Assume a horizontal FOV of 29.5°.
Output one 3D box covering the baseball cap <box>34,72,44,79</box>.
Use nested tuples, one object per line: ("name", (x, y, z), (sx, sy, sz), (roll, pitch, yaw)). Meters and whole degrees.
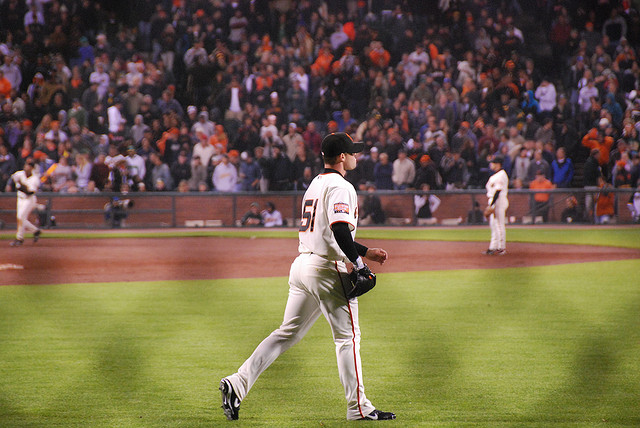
("baseball cap", (-9.512, -4.715, 41.244), (0.258, 0.179, 0.253), (4, -4, -23))

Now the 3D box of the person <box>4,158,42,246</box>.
("person", (-8.634, -0.381, 35.708), (0.772, 2.596, 1.203), (0, -1, -13))

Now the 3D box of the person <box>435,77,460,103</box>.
("person", (4.234, -4.123, 40.178), (0.732, 0.916, 1.209), (0, -1, 8))

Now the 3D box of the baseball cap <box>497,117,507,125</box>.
("baseball cap", (5.934, -3.052, 39.461), (0.296, 0.257, 0.433), (0, -1, 11))

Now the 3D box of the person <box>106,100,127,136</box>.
("person", (-6.782, -3.030, 40.524), (0.561, 1.775, 0.592), (-27, 49, -34))

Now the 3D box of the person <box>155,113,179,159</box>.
("person", (-4.980, -2.596, 39.822), (0.721, 1.523, 0.823), (0, -1, 0))

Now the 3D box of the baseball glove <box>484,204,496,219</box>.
("baseball glove", (4.781, -0.119, 33.953), (0.262, 0.311, 0.341), (0, -1, -4))

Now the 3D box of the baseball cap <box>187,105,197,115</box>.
("baseball cap", (-4.265, -3.503, 40.580), (0.356, 0.317, 0.195), (0, -1, 17))

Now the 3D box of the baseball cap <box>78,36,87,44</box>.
("baseball cap", (-8.256, -6.035, 42.289), (0.337, 0.254, 0.201), (-1, -1, 36))

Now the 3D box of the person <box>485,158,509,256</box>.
("person", (4.965, -0.219, 34.132), (0.606, 2.687, 0.900), (0, -1, 6))
